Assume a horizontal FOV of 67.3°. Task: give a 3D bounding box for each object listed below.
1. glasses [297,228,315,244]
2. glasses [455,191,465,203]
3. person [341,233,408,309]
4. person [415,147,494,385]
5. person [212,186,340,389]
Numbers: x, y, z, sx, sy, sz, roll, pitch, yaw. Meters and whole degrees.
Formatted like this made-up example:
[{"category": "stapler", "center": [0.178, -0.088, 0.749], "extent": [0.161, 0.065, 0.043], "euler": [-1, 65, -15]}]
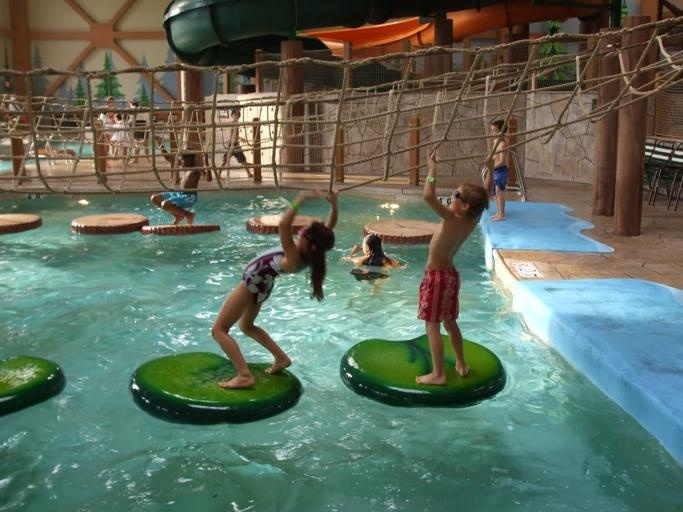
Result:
[{"category": "glasses", "center": [-0.257, -0.151, 3.593], "extent": [0.086, 0.078, 0.098], "euler": [0, 8, -7]}, {"category": "glasses", "center": [0.865, -0.435, 3.752], "extent": [0.029, 0.072, 0.077], "euler": [-7, 12, -30]}, {"category": "person", "center": [0.444, 0.219, 6.653], "extent": [0.811, 1.138, 0.407], "euler": [21, 37, 28]}, {"category": "person", "center": [0.809, 0.108, 3.899], "extent": [0.533, 1.743, 0.337], "euler": [-4, 12, -18]}, {"category": "person", "center": [-0.470, 0.249, 3.880], "extent": [0.923, 1.499, 0.660], "euler": [3, 12, 16]}]
